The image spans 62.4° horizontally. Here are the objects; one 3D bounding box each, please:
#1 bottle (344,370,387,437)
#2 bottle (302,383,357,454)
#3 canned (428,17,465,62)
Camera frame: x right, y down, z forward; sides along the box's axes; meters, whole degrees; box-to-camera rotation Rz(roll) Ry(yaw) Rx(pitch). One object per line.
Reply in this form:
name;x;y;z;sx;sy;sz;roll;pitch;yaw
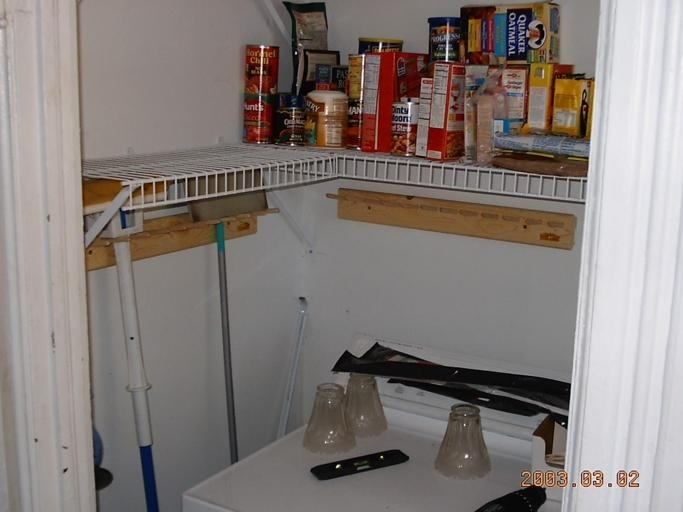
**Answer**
bottle;0.049;0.380;1.489;0.148;0.148;0.138;1;0;-7
bottle;-0.027;0.399;1.416;0.150;0.137;0.138;4;-2;-33
canned;0.266;-0.573;1.509;0.102;0.116;0.070;5;14;32
